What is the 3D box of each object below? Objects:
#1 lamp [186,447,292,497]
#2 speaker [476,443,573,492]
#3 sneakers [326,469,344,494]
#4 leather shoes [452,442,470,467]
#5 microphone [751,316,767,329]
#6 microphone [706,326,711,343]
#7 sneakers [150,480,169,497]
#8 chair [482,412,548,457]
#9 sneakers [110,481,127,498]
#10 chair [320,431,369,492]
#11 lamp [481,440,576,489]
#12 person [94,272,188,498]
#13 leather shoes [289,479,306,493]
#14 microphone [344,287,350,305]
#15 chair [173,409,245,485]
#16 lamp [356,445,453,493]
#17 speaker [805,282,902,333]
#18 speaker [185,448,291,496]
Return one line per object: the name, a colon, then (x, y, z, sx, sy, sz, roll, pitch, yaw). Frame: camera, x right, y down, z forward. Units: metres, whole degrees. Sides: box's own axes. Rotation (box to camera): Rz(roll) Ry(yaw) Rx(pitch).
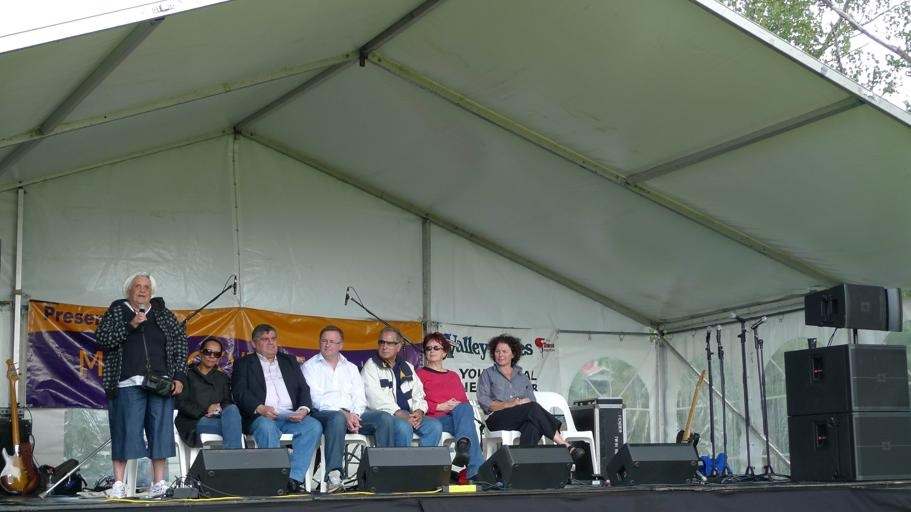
lamp: (-2.402, 2.438, 13.110, 0.846, 0.404, 0.617, 3, -3, -18)
speaker: (0.803, 2.543, 13.754, 0.809, 0.409, 0.597, 2, -11, -29)
sneakers: (-1.459, 2.702, 14.036, 0.211, 0.267, 0.208, -2, -14, -1)
leather shoes: (0.074, 2.483, 14.553, 0.247, 0.317, 0.184, 7, -31, -5)
microphone: (4.467, 0.976, 17.213, 0.099, 0.057, 0.248, 19, -40, -34)
microphone: (3.787, 1.168, 17.525, 0.079, 0.266, 0.106, 7, 11, 28)
sneakers: (-3.490, 2.743, 13.756, 0.134, 0.141, 0.332, 1, -6, -9)
chair: (0.804, 2.302, 15.344, 0.592, 0.773, 0.591, 2, -2, -27)
sneakers: (-3.944, 2.745, 13.647, 0.192, 0.212, 0.529, 2, -15, -16)
chair: (-1.410, 2.649, 15.060, 0.856, 0.791, 0.819, 4, -20, -15)
lamp: (0.789, 2.571, 13.762, 0.691, 0.361, 0.674, 4, -18, -32)
person: (-3.725, 1.523, 13.817, 1.010, 2.586, 0.456, 1, -14, -13)
leather shoes: (-1.864, 2.776, 13.999, 0.304, 0.118, 0.102, -10, -15, 32)
microphone: (-1.651, 0.588, 17.786, 0.096, 0.280, 0.180, -1, -14, -5)
chair: (-3.144, 2.441, 14.659, 0.776, 0.895, 0.967, 7, -17, -26)
lamp: (-0.562, 2.462, 13.375, 0.955, 0.462, 0.542, 0, -16, -18)
speaker: (5.089, 0.741, 15.185, 0.789, 0.483, 0.764, 2, -3, -26)
speaker: (-2.432, 2.447, 13.164, 1.079, 0.526, 0.244, 3, -14, -17)
